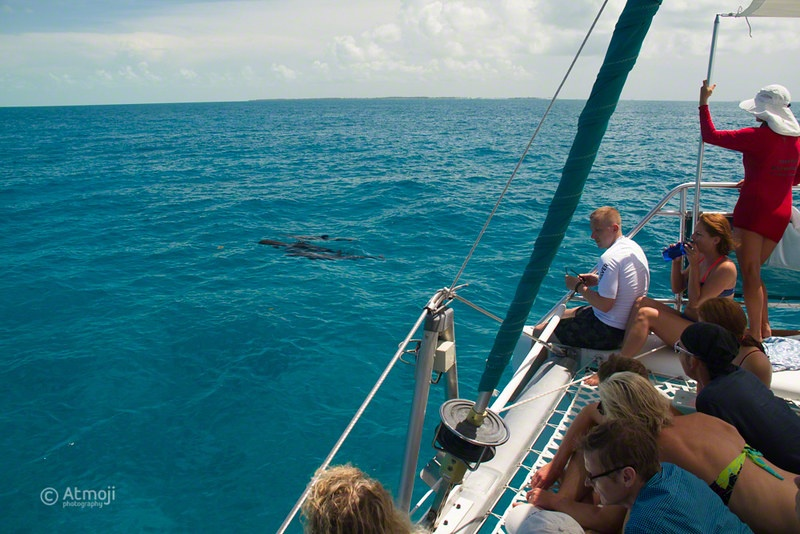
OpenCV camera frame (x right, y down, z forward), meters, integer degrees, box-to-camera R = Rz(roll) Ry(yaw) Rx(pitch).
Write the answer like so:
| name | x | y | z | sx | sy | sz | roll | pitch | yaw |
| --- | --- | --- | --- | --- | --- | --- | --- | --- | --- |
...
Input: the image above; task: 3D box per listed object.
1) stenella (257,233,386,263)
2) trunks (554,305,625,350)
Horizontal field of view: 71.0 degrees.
| name | x | y | z | sx | sy | sz | roll | pitch | yaw |
| --- | --- | --- | --- | --- | --- | --- | --- | --- | --- |
| stenella | -2.352 | -0.564 | 15.896 | 1.906 | 0.090 | 3.478 | -15 | 23 | -40 |
| trunks | 2.257 | 0.775 | 6.713 | 0.451 | 0.211 | 0.788 | -2 | 0 | -30 |
